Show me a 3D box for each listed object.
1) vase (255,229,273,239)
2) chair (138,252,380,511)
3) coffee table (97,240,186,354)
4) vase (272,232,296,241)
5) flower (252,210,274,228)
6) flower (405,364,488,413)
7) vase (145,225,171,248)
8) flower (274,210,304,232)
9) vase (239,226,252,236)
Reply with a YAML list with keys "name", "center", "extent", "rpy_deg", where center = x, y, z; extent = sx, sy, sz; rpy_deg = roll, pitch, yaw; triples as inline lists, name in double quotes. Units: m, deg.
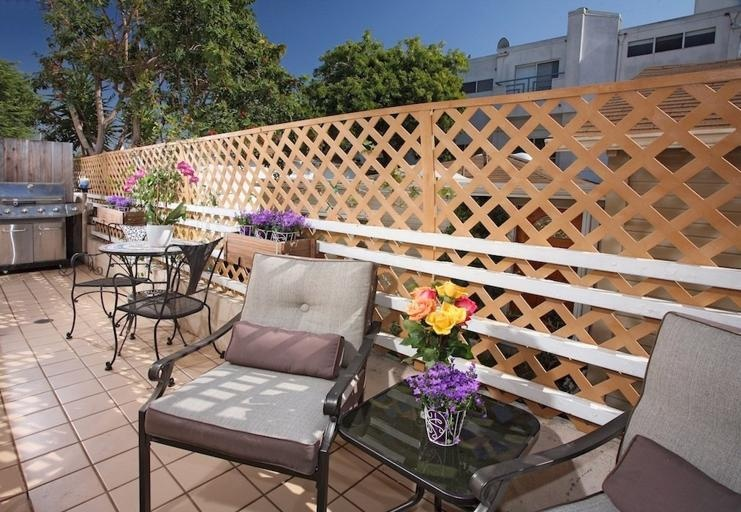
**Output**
- name: "vase"
  center: [-1.000, -0.209, 4.235]
  extent: [0.113, 0.084, 0.121]
  rpy_deg: [1, 7, -3]
- name: "chair"
  center: [-0.900, 0.785, 3.507]
  extent: [1.443, 1.724, 1.747]
  rpy_deg: [4, 8, 15]
- name: "coffee table"
  center: [-2.482, 0.471, 4.928]
  extent: [1.033, 1.254, 0.950]
  rpy_deg: [14, 12, 41]
- name: "vase"
  center: [-0.792, -0.186, 4.107]
  extent: [0.116, 0.077, 0.116]
  rpy_deg: [-2, 8, -27]
- name: "flower"
  center: [-1.017, -0.358, 4.255]
  extent: [0.190, 0.159, 0.186]
  rpy_deg: [-4, 16, -43]
- name: "flower"
  center: [0.424, 0.717, 2.545]
  extent: [0.325, 0.214, 0.310]
  rpy_deg: [-1, 4, -34]
- name: "vase"
  center: [-2.139, -0.183, 4.576]
  extent: [0.219, 0.180, 0.225]
  rpy_deg: [6, -8, 3]
- name: "flower"
  center: [-0.752, -0.332, 4.162]
  extent: [0.207, 0.161, 0.206]
  rpy_deg: [-13, 26, -43]
- name: "vase"
  center: [-1.232, -0.265, 4.484]
  extent: [0.108, 0.078, 0.106]
  rpy_deg: [0, 10, -24]
